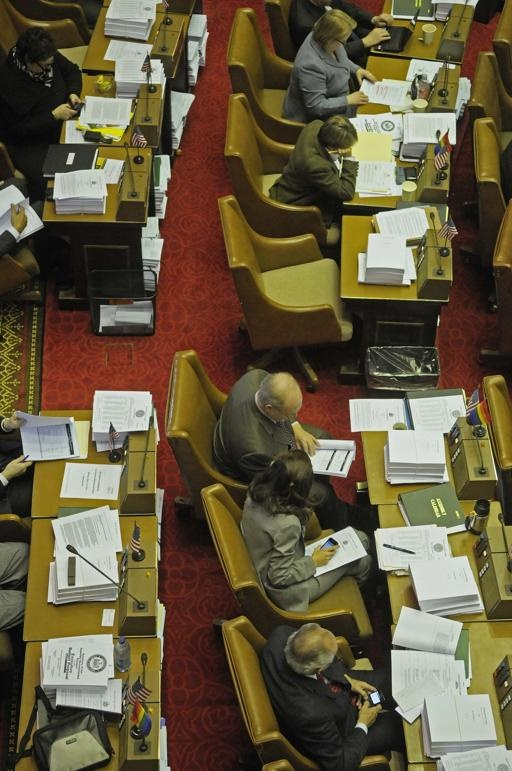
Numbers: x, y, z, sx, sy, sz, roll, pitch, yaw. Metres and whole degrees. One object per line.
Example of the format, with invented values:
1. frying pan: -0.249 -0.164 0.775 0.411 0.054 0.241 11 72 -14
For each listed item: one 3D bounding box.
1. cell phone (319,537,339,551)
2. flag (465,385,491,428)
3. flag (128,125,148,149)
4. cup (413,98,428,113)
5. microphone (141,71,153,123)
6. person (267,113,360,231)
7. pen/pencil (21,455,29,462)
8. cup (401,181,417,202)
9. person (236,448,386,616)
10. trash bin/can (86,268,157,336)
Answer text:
1. cell phone: 0.325 0.704 2.590 0.064 0.010 0.092 7 26 17
2. flag: 1.078 0.110 2.822 0.130 0.163 0.125 -16 95 -3
3. flag: -0.824 -1.725 4.079 0.117 0.205 0.116 -11 79 -2
4. cup: 1.255 -2.131 4.468 0.107 0.085 0.118 -1 79 8
5. microphone: -0.801 -2.139 4.315 0.116 0.360 0.075 7 27 -6
6. person: 0.443 -1.465 4.240 0.583 1.126 0.520 0 72 -3
7. pen/pencil: -1.104 0.352 2.797 0.024 0.024 0.031 -4 25 -6
8. cup: 1.017 -1.286 3.948 0.109 0.115 0.133 -2 62 -5
9. person: 0.239 0.675 2.480 0.519 0.934 0.379 -14 26 -15
10. trash bin/can: -0.939 -0.598 4.124 0.457 0.416 0.340 -2 55 -9
